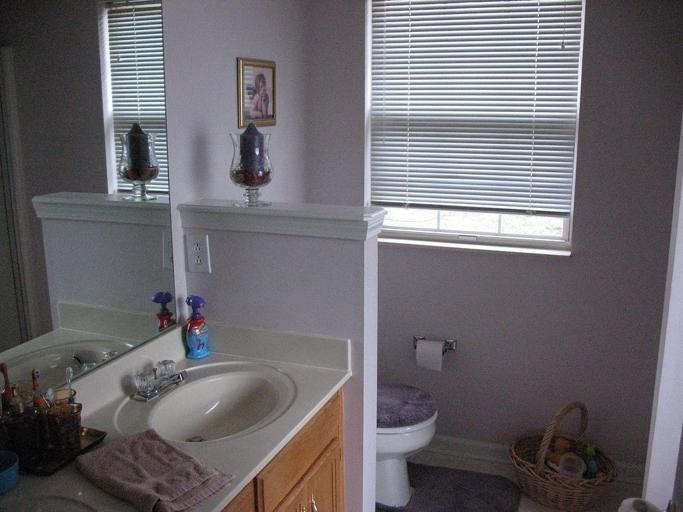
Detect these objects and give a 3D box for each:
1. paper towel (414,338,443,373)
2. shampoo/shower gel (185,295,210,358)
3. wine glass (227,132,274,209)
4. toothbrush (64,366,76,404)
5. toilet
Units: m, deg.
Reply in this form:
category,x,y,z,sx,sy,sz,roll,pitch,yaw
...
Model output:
category,x,y,z,sx,sy,sz,roll,pitch,yaw
paper towel,0.497,0.548,3.197,0.177,0.193,0.153,7,16,27
shampoo/shower gel,-0.570,0.265,2.188,0.088,0.249,0.160,-2,11,-13
wine glass,-0.355,-0.357,2.184,0.160,0.309,0.160,-2,11,-10
toothbrush,-0.824,0.394,1.682,0.031,0.128,0.018,-6,14,-31
toilet,0.304,0.983,2.964,0.408,0.498,0.511,-3,3,-7
